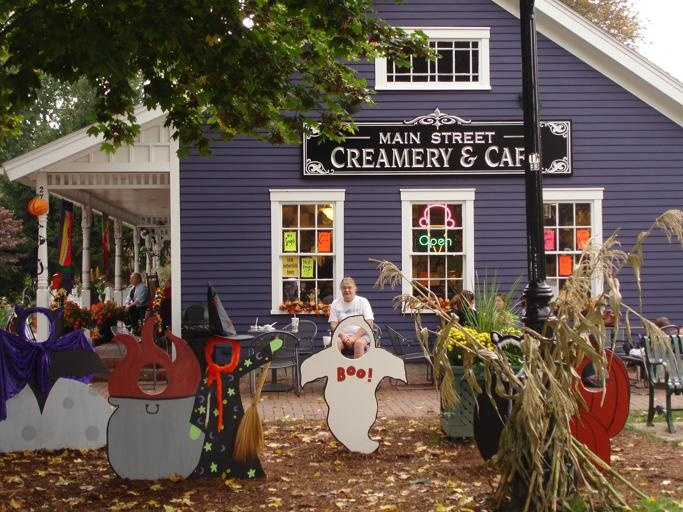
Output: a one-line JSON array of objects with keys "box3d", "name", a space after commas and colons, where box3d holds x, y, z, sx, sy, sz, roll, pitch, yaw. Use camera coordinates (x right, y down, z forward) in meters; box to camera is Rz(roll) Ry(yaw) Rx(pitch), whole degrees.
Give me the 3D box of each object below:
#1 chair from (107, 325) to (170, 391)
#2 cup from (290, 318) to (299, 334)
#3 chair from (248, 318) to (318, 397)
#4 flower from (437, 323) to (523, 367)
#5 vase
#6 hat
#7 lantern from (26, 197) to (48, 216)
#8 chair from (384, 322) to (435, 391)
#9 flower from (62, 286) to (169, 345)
[{"box3d": [-2.358, 1.197, 10.794, 0.725, 0.912, 0.337, -1, -4, 17], "name": "chair"}, {"box3d": [-0.727, 1.143, 15.156, 0.171, 0.202, 0.181, 1, -5, 0], "name": "cup"}, {"box3d": [-0.785, 1.599, 14.946, 0.983, 1.519, 1.122, -3, -11, 26], "name": "chair"}, {"box3d": [1.720, 1.064, 11.316, 0.788, 0.422, 0.778, 0, -4, -7], "name": "flower"}, {"box3d": [1.716, 1.994, 11.883, 0.806, 1.133, 1.122, 1, -5, -1], "name": "vase"}, {"box3d": [-1.527, 0.763, 11.401, 0.823, 0.931, 0.738, 2, -4, -10], "name": "hat"}, {"box3d": [-5.570, -0.910, 16.917, 0.306, 0.408, 1.264, 1, -4, -16], "name": "lantern"}, {"box3d": [1.207, 1.681, 15.743, 0.962, 1.403, 0.842, -2, 0, -1], "name": "chair"}, {"box3d": [-4.769, 1.463, 19.587, 2.001, 0.672, 1.467, -2, 1, -10], "name": "flower"}]
